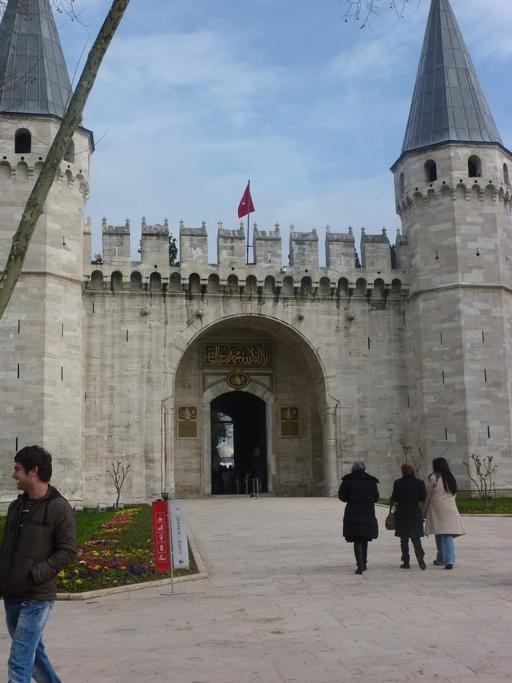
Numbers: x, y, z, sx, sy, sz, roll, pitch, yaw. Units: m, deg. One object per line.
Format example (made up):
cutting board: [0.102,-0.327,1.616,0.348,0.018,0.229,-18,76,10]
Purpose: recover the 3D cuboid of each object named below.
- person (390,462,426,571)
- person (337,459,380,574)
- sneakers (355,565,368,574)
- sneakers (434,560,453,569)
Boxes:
person: [1.987,2.252,11.834,0.476,1.302,0.972,-3,-9,8]
person: [1.295,2.189,11.444,0.494,1.345,0.870,-3,-9,5]
sneakers: [1.270,2.769,11.080,0.070,0.086,0.206,1,-7,-19]
sneakers: [2.359,2.825,11.539,0.079,0.103,0.238,4,-12,-22]
